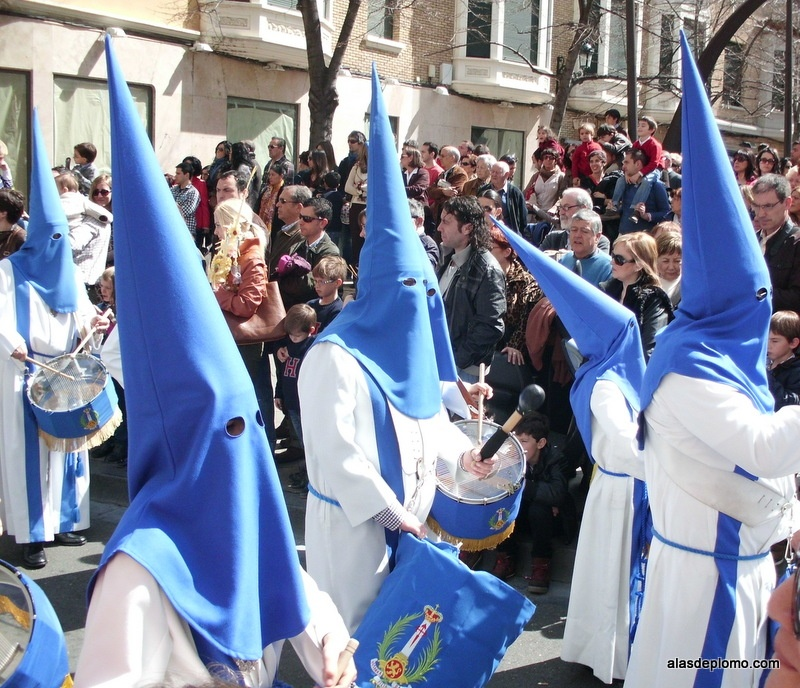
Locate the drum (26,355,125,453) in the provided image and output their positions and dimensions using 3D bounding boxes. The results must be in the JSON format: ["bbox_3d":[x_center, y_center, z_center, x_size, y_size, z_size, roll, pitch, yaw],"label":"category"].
[{"bbox_3d":[-2.038,0.324,7.288,0.471,0.414,0.509,-22,52,-19],"label":"drum"}]

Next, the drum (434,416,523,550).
[{"bbox_3d":[0.326,0.801,5.828,0.434,0.439,0.348,-6,46,25],"label":"drum"}]

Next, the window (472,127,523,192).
[{"bbox_3d":[2.026,-4.105,24.932,1.396,1.002,0.045,-4,6,-36],"label":"window"}]

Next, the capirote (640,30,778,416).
[{"bbox_3d":[1.394,-0.484,5.012,0.562,1.666,0.351,5,7,10],"label":"capirote"}]
